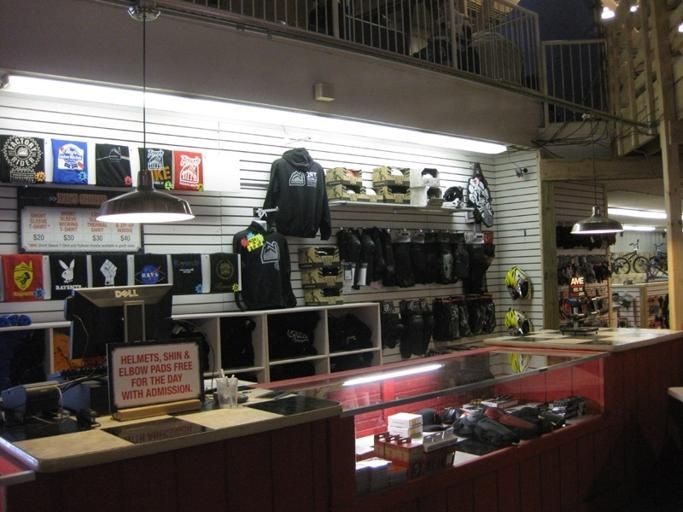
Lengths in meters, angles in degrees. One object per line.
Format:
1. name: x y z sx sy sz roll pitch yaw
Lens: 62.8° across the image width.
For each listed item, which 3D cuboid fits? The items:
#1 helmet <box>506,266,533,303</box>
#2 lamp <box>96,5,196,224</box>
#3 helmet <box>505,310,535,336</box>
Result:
1. helmet: 2.643 0.426 8.308 0.421 0.350 0.459 26 -10 -2
2. lamp: -1.609 -1.262 4.394 0.600 1.631 2.043 -4 0 -22
3. helmet: 1.737 0.666 5.533 0.216 0.263 0.327 -4 1 14
